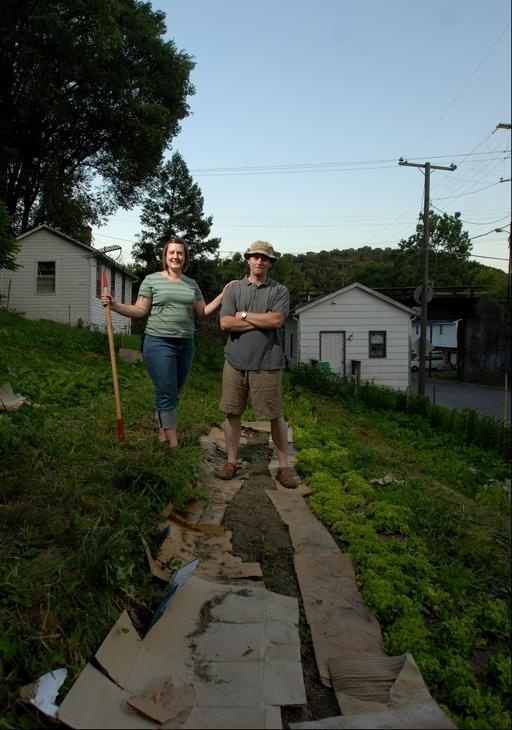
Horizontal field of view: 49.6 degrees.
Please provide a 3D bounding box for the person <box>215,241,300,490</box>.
[{"bbox_3d":[0.035,-0.018,4.386,0.632,1.860,0.473,2,1,6],"label":"person"}]

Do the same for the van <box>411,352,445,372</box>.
[{"bbox_3d":[8.755,-0.132,28.005,2.102,1.067,1.372,1,-2,-12],"label":"van"}]

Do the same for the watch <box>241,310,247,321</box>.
[{"bbox_3d":[-0.090,-0.373,4.202,0.063,0.080,0.024,4,0,5],"label":"watch"}]

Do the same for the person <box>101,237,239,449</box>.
[{"bbox_3d":[-0.707,-0.258,4.446,0.558,1.771,0.781,0,1,-35],"label":"person"}]
